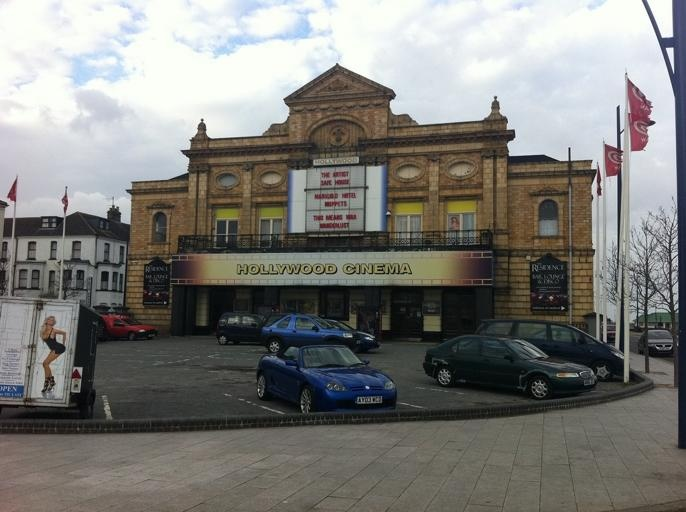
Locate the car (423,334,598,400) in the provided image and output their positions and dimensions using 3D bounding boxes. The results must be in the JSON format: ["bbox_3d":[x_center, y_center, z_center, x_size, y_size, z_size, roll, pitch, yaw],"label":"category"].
[{"bbox_3d":[4.566,3.061,19.924,4.170,1.354,1.807,-7,-9,42],"label":"car"}]

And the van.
[{"bbox_3d":[6.775,3.017,23.597,4.362,1.517,2.017,1,-4,12],"label":"van"}]

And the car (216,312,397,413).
[{"bbox_3d":[-0.694,2.760,18.071,2.046,1.704,4.494,6,-9,-30],"label":"car"}]

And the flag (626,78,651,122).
[{"bbox_3d":[9.147,-4.798,22.230,0.667,1.467,0.837,0,1,21],"label":"flag"}]
